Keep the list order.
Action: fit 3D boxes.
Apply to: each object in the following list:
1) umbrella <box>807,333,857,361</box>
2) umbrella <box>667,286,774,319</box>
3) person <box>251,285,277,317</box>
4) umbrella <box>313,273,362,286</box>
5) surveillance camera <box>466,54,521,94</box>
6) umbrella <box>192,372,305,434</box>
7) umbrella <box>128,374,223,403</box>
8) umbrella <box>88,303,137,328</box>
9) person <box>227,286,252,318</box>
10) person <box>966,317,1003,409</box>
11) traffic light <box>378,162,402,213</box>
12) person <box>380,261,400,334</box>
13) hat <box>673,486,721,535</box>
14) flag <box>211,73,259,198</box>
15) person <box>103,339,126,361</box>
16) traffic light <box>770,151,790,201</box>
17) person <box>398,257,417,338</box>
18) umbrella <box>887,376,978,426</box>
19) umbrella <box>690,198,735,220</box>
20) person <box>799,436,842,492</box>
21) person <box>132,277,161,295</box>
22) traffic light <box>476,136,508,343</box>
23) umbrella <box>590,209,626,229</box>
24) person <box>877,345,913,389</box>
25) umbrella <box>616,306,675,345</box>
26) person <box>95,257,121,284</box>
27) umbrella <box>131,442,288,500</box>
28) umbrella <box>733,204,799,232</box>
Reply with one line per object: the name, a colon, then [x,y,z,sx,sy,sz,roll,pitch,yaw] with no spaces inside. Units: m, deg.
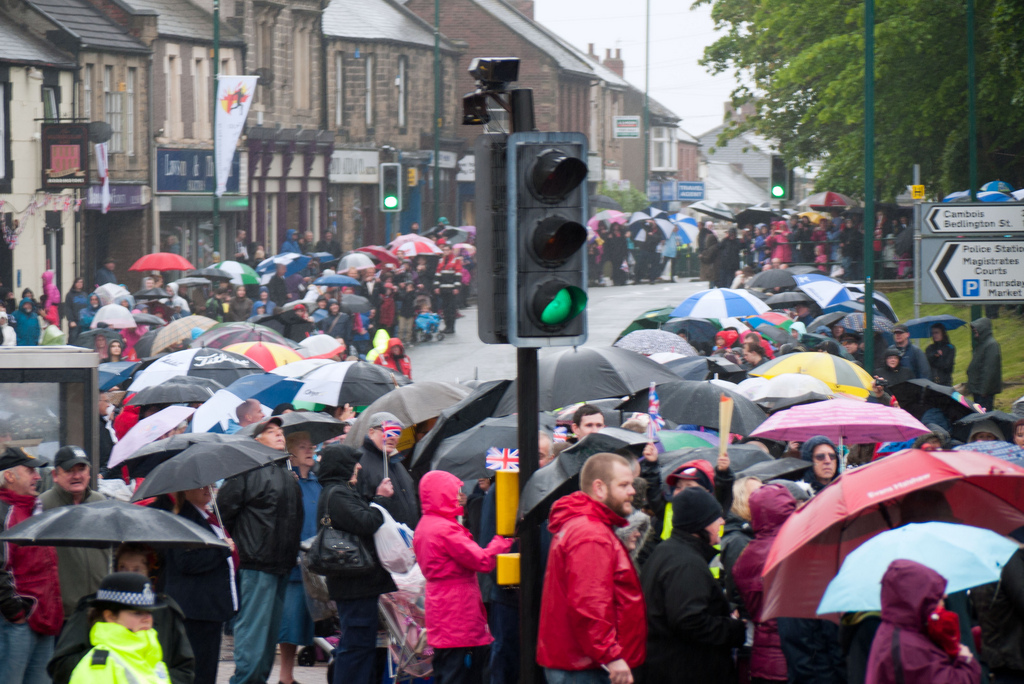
umbrella: [5.389,0.047,36.999,0.569,0.173,0.553,20,-3,-38]
umbrella: [3.965,-0.686,40.543,1.576,0.560,1.100,-4,6,-41]
person: [-5.632,-0.870,48.005,0.672,0.780,0.975,-1,1,-10]
umbrella: [-3.916,-1.333,47.919,0.914,0.251,1.011,1,4,14]
surveillance camera: [-0.232,-3.183,25.922,0.417,0.310,0.512,1,-2,-33]
umbrella: [-4.040,0.878,32.960,1.053,0.330,1.024,-33,11,-36]
umbrella: [-5.034,0.755,32.755,0.895,0.351,1.323,3,5,33]
umbrella: [-7.436,-0.452,40.396,0.600,0.270,0.528,-3,-7,21]
person: [-6.086,-0.849,48.196,0.552,0.700,0.765,-1,5,-2]
person: [8.378,0.395,38.194,0.611,1.592,0.882,1,6,11]
traffic light: [-2.876,-3.632,51.420,0.496,1.036,1.049,-1,5,-8]
person: [-2.829,-0.844,48.757,0.472,1.393,1.173,-1,5,-4]
hat: [2.238,2.008,26.205,0.584,0.427,0.522,-18,16,35]
flag: [-7.606,-5.634,59.387,1.484,3.246,0.164,-14,25,-43]
person: [-6.952,0.145,37.628,0.337,0.334,0.762,-1,5,-10]
traffic light: [6.047,-3.594,48.172,0.405,0.909,1.196,0,5,7]
person: [-2.452,-0.815,50.247,0.435,1.758,1.158,-1,5,-3]
umbrella: [6.810,0.871,34.915,0.861,0.323,0.823,14,-15,38]
umbrella: [6.586,-4.222,69.902,1.440,0.498,1.351,15,1,-29]
person: [4.108,1.632,28.821,0.786,0.822,0.569,-2,-4,15]
person: [-8.121,-1.257,47.966,0.842,0.289,0.735,1,-4,-10]
traffic light: [-0.217,-1.209,25.611,0.373,2.416,0.384,-1,6,-1]
umbrella: [3.165,-3.821,67.632,1.391,0.441,1.264,-3,-2,16]
person: [6.570,0.436,36.656,0.848,0.589,0.393,-2,-7,-9]
umbrella: [2.629,-0.465,41.575,0.953,0.792,0.809,-10,-14,-20]
person: [-9.627,-1.650,51.186,0.333,0.588,1.343,-2,5,-15]
umbrella: [-3.938,1.643,28.001,1.883,0.683,0.680,-3,6,-32]
umbrella: [7.396,-3.691,64.102,1.470,0.393,1.542,2,-1,24]
